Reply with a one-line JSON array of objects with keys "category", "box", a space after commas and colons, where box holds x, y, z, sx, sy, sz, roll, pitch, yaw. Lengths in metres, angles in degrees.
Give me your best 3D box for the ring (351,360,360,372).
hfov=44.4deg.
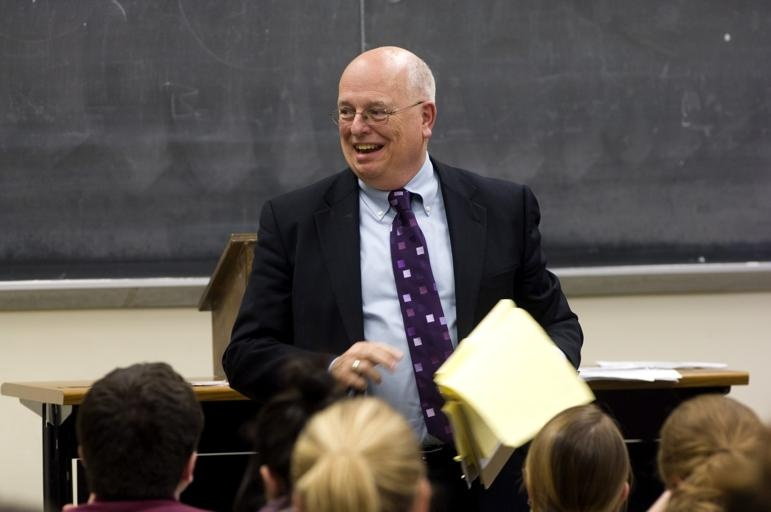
[{"category": "ring", "box": [-0.078, 0.284, 2.449, 0.022, 0.024, 0.021, 23, -14, 6]}]
